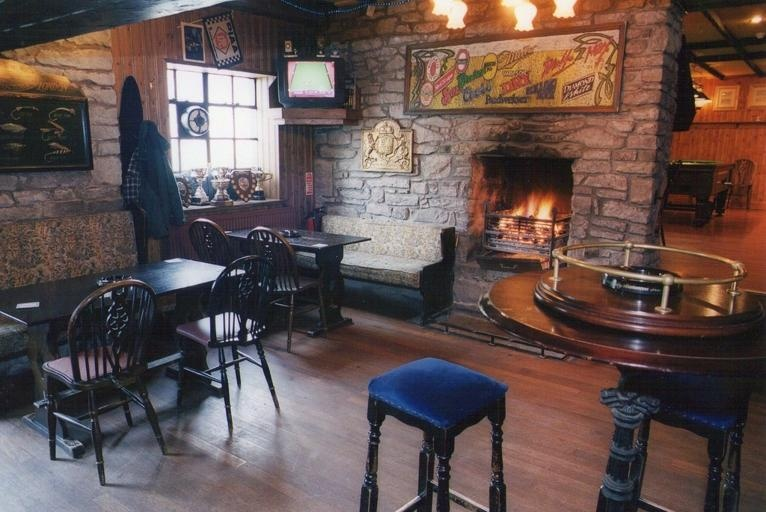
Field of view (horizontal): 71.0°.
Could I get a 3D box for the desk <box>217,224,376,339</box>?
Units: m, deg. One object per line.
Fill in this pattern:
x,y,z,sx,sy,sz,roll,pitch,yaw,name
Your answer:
-0.951,0.091,6.175,2.098,1.277,1.118,9,16,37,desk

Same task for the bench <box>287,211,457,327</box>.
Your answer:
-0.071,0.191,6.192,1.397,0.653,0.583,6,10,36,bench

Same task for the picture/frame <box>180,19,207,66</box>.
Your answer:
-2.158,-2.402,6.026,0.046,0.542,0.512,17,20,30,picture/frame
